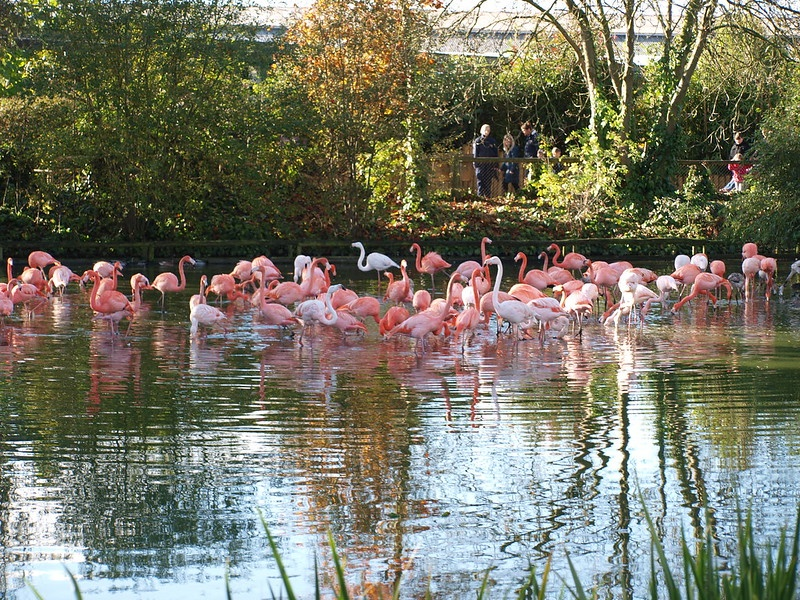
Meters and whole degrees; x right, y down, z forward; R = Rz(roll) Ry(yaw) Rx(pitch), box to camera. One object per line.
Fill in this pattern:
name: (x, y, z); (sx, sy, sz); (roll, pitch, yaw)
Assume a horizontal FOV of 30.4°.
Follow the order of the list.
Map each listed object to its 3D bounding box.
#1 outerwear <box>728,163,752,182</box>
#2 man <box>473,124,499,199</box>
outerwear: (9.857, -3.718, 43.272); (0.559, 0.663, 1.271); (-4, -6, 11)
man: (2.455, -3.952, 43.284); (0.811, 2.554, 0.628); (-3, 31, -1)
